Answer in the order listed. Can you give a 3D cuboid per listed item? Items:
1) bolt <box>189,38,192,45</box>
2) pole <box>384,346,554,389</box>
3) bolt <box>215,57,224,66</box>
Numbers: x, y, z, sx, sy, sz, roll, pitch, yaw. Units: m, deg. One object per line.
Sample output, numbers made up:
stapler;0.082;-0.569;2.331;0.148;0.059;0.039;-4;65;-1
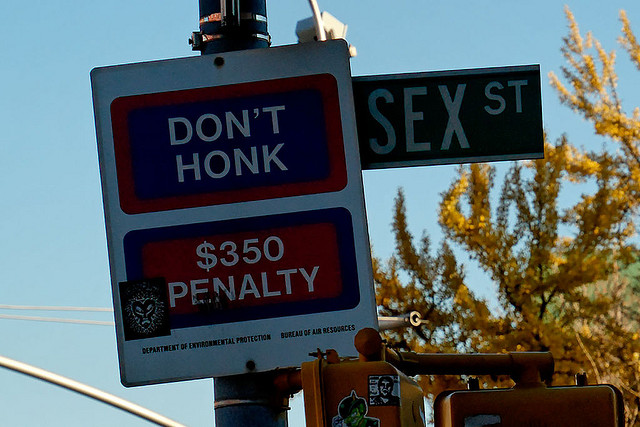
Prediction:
bolt;-1.357;-1.786;15.804;0.007;0.059;0.057;11;-2;-34
pole;1.611;1.693;15.802;1.664;0.605;0.462;0;-33;-6
bolt;-1.031;-1.537;15.399;0.070;0.077;0.017;3;1;-5
